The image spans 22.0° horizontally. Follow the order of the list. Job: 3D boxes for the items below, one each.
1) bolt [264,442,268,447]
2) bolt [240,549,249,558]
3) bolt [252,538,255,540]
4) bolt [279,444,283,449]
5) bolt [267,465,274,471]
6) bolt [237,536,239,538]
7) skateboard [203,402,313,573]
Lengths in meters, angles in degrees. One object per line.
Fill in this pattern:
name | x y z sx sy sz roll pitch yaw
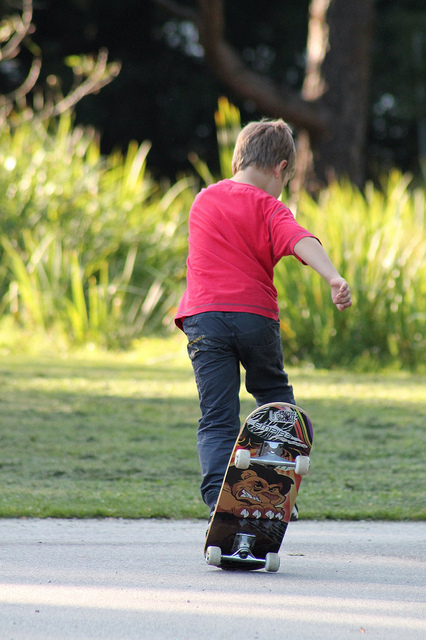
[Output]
bolt | 0.175 0.425 3.734 0.016 0.014 0.004 -2 7 -28
bolt | 0.102 0.787 3.693 0.031 0.027 0.007 3 8 -11
bolt | 0.133 0.746 3.725 0.001 0.006 0.012 12 11 43
bolt | 0.229 0.434 3.750 0.014 0.012 0.003 4 7 -12
bolt | 0.190 0.503 3.725 0.023 0.020 0.005 1 12 -2
bolt | 0.081 0.737 3.715 0.007 0.005 0.001 5 8 11
skateboard | 0.134 0.619 3.783 0.268 0.691 0.125 16 10 -13
